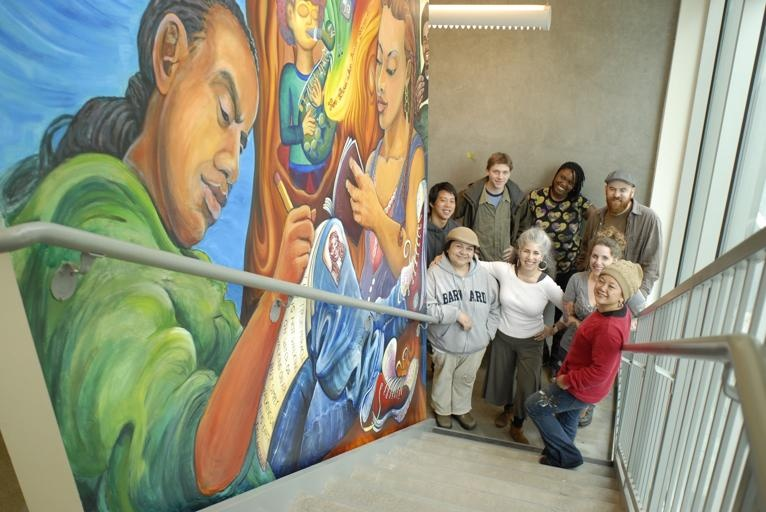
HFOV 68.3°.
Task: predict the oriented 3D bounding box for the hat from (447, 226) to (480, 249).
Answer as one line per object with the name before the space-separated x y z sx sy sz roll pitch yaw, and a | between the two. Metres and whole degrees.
hat | 0.653 -0.170 4.640 0.250 0.173 0.214 10 0 0

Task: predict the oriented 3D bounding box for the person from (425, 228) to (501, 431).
person | 0.596 0.628 4.810 0.805 1.733 0.405 9 0 -35

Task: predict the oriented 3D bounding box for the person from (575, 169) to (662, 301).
person | 2.221 -0.102 5.449 0.813 1.426 0.647 9 12 39

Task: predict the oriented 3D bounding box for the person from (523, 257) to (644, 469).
person | 1.341 0.751 3.752 0.477 1.421 0.629 8 1 -42

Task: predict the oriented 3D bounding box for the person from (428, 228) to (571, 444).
person | 0.943 0.718 4.769 1.370 2.025 0.739 7 16 14

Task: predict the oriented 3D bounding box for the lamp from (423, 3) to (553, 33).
lamp | 1.020 -2.324 5.464 1.138 0.268 0.147 11 0 3

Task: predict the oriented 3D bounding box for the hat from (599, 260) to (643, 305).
hat | 1.571 0.157 3.647 0.210 0.261 0.545 10 -1 39

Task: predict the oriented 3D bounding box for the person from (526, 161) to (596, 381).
person | 2.020 0.173 6.248 0.778 2.481 0.634 -5 22 5
